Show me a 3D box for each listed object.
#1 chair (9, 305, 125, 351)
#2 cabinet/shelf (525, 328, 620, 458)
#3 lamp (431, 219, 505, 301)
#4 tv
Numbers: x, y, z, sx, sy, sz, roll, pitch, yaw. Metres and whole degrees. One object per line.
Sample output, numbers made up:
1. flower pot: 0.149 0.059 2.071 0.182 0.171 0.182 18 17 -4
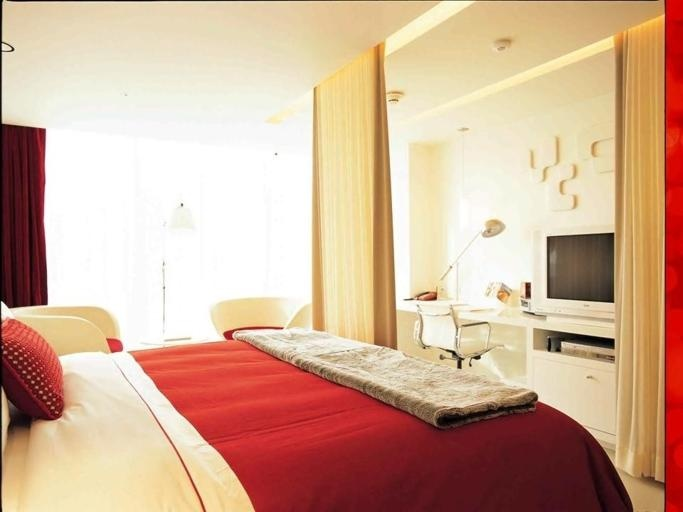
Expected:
1. chair: -2.364 0.538 4.304 0.660 0.517 0.570 2 4 -13
2. cabinet/shelf: 1.631 0.915 3.424 0.205 0.678 0.687 -1 8 -21
3. lamp: 1.357 0.037 5.045 0.375 0.218 0.899 13 -29 -10
4. tv: 1.739 0.135 3.576 0.452 0.739 0.729 7 -6 -26
